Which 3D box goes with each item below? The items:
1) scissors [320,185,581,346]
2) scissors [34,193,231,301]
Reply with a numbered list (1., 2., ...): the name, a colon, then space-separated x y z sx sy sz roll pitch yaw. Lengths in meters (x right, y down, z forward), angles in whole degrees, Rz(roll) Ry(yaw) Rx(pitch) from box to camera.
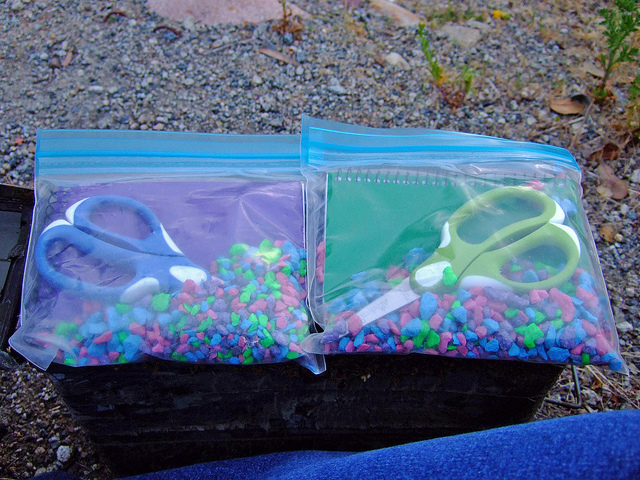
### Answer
1. scissors: 0.368 0.116 1.690 0.752 0.089 0.341 -23 62 -9
2. scissors: -0.547 0.056 1.633 0.441 0.058 0.319 38 64 19
